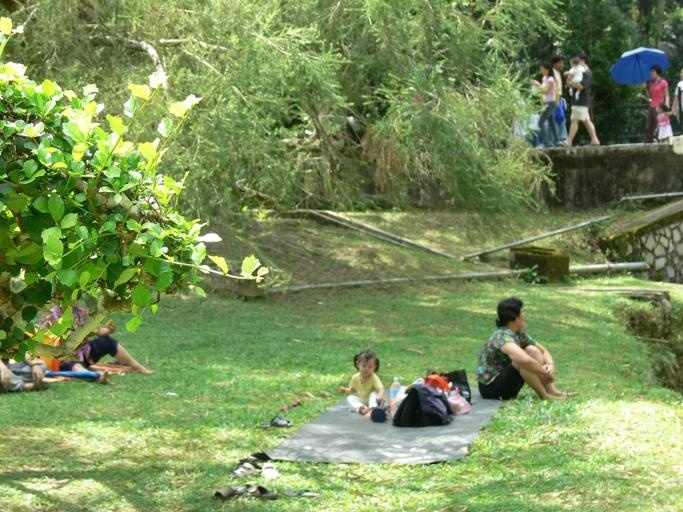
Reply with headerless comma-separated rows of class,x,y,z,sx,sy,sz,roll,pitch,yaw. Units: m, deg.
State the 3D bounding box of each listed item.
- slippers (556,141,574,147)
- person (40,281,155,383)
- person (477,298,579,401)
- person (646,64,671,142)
slippers,4.735,-2.354,18.927,0.319,0.147,0.118,17,7,22
person,-3.031,0.823,9.744,1.513,1.058,0.954,-4,0,30
person,1.777,0.931,8.956,0.820,1.000,0.467,0,11,8
person,6.667,-3.142,18.772,0.388,1.610,2.148,2,11,18
